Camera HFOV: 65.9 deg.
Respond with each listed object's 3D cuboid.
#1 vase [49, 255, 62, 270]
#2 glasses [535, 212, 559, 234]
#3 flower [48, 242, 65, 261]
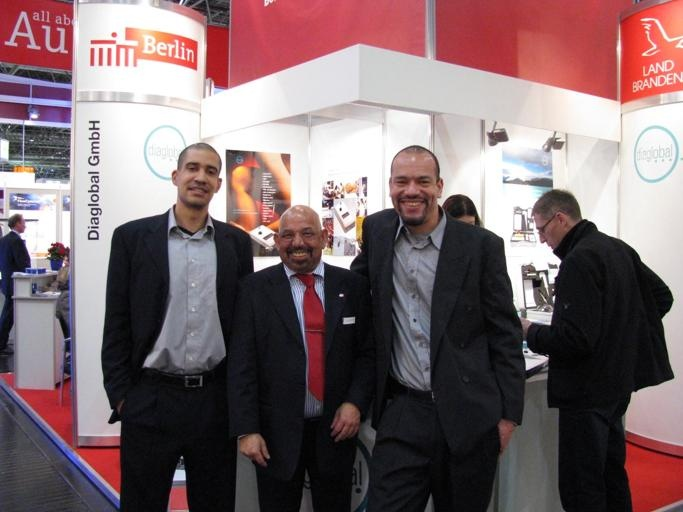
[{"bbox_3d":[-4.521,0.094,8.290,0.212,0.263,0.223,0,-1,27],"label":"vase"},{"bbox_3d":[1.319,-0.214,3.409,0.029,0.096,0.091,39,-3,8],"label":"glasses"},{"bbox_3d":[-4.452,-0.066,8.249,0.264,0.297,0.270,0,-16,-44],"label":"flower"}]
